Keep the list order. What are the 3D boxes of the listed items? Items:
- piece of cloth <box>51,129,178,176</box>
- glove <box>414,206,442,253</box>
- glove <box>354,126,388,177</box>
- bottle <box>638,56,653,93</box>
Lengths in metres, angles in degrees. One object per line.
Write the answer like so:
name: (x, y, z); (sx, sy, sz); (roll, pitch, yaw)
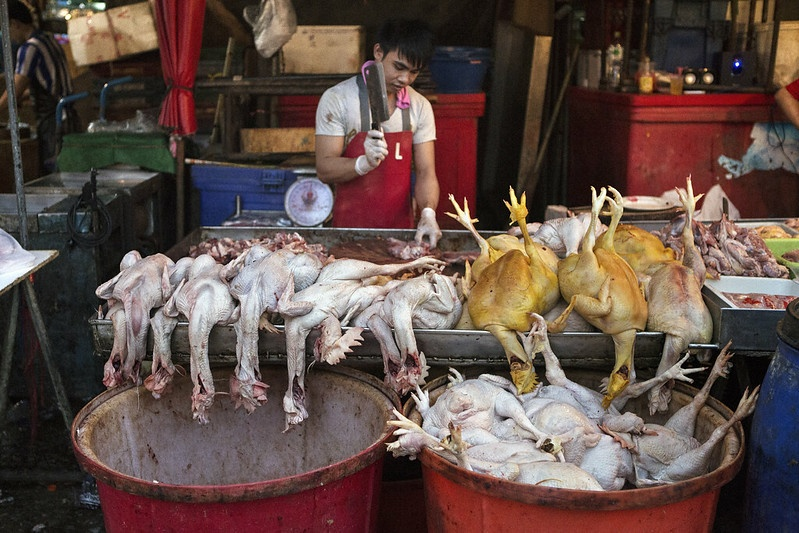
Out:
piece of cloth: (-2.513, -1.010, 7.502); (0.759, 0.272, 0.493); (1, 16, -4)
glove: (0.179, -0.246, 5.663); (0.148, 0.074, 0.275); (-2, 55, 1)
glove: (-0.188, -0.765, 5.817); (0.163, 0.331, 0.111); (16, 17, 16)
bottle: (2.201, -1.699, 7.638); (0.153, 0.300, 0.285); (3, 13, 13)
